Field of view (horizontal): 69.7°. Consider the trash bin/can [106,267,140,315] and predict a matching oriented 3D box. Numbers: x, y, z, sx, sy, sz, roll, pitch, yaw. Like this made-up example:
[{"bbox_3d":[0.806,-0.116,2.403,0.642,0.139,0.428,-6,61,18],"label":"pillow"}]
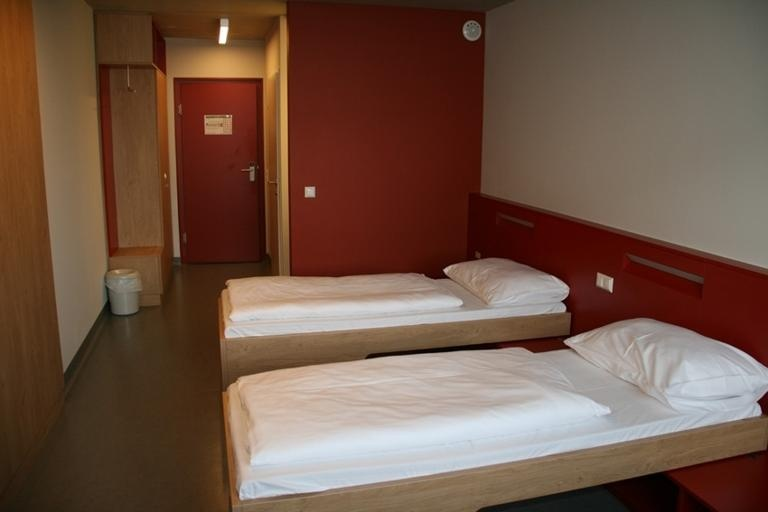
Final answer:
[{"bbox_3d":[-2.867,0.405,6.022,0.374,0.442,0.368,8,11,43],"label":"trash bin/can"}]
